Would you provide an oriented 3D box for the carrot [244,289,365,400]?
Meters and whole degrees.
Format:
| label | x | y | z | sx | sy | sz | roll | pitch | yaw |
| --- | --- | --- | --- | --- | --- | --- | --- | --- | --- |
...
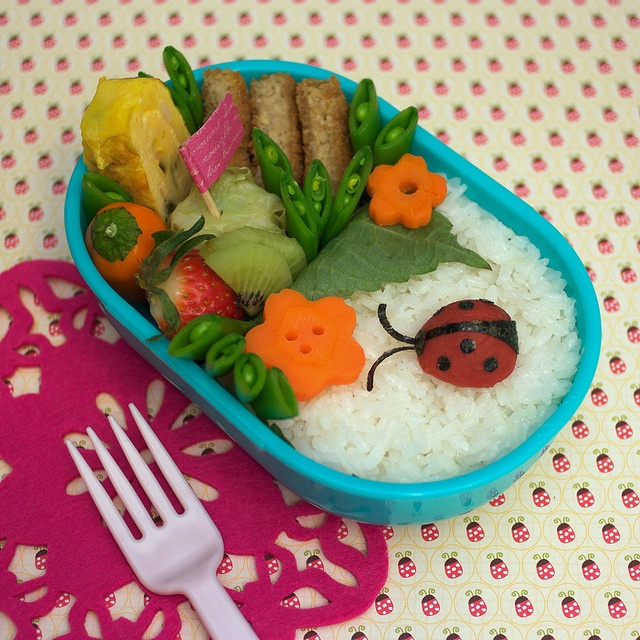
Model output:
| label | x | y | z | sx | sy | sz | roll | pitch | yaw |
| --- | --- | --- | --- | --- | --- | --- | --- | --- | --- |
| carrot | -0.016 | 0.036 | 1.184 | 0.201 | 0.045 | 0.149 | 2 | 70 | -9 |

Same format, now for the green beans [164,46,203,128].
| label | x | y | z | sx | sy | sz | roll | pitch | yaw |
| --- | --- | --- | --- | --- | --- | --- | --- | --- | --- |
| green beans | -0.227 | -0.390 | 1.370 | 0.043 | 0.095 | 0.106 | -17 | 77 | -7 |

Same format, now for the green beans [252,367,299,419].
| label | x | y | z | sx | sy | sz | roll | pitch | yaw |
| --- | --- | --- | --- | --- | --- | --- | --- | --- | --- |
| green beans | -0.063 | 0.099 | 1.124 | 0.070 | 0.046 | 0.092 | -7 | 35 | -10 |

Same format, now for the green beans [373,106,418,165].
| label | x | y | z | sx | sy | sz | roll | pitch | yaw |
| --- | --- | --- | --- | --- | --- | --- | --- | --- | --- |
| green beans | 0.120 | -0.294 | 1.318 | 0.093 | 0.083 | 0.101 | -7 | 39 | -7 |

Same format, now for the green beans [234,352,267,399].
| label | x | y | z | sx | sy | sz | roll | pitch | yaw |
| --- | --- | --- | --- | --- | --- | --- | --- | --- | --- |
| green beans | -0.136 | 0.049 | 1.137 | 0.040 | 0.026 | 0.079 | 32 | 39 | 4 |

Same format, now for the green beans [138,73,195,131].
| label | x | y | z | sx | sy | sz | roll | pitch | yaw |
| --- | --- | --- | --- | --- | --- | --- | --- | --- | --- |
| green beans | -0.230 | -0.373 | 1.382 | 0.055 | 0.170 | 0.038 | -23 | 66 | -7 |

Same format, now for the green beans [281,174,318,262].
| label | x | y | z | sx | sy | sz | roll | pitch | yaw |
| --- | --- | --- | --- | --- | --- | --- | --- | --- | --- |
| green beans | -0.013 | -0.158 | 1.269 | 0.047 | 0.048 | 0.120 | -19 | 108 | 3 |

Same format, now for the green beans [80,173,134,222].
| label | x | y | z | sx | sy | sz | roll | pitch | yaw |
| --- | --- | --- | --- | --- | --- | --- | --- | --- | --- |
| green beans | -0.335 | -0.206 | 1.307 | 0.091 | 0.069 | 0.061 | -8 | 45 | -3 |

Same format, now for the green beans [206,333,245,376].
| label | x | y | z | sx | sy | sz | roll | pitch | yaw |
| --- | --- | --- | --- | --- | --- | --- | --- | --- | --- |
| green beans | -0.132 | 0.046 | 1.139 | 0.043 | 0.024 | 0.068 | 19 | 54 | 5 |

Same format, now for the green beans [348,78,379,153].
| label | x | y | z | sx | sy | sz | roll | pitch | yaw |
| --- | --- | --- | --- | --- | --- | --- | --- | --- | --- |
| green beans | 0.073 | -0.323 | 1.339 | 0.056 | 0.083 | 0.125 | 9 | 75 | -1 |

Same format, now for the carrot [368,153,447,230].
| label | x | y | z | sx | sy | sz | roll | pitch | yaw |
| --- | --- | --- | --- | --- | --- | --- | --- | --- | --- |
| carrot | 0.142 | -0.200 | 1.343 | 0.109 | 0.106 | 0.145 | -26 | 42 | -31 |

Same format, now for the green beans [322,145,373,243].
| label | x | y | z | sx | sy | sz | roll | pitch | yaw |
| --- | --- | --- | --- | --- | --- | --- | --- | --- | --- |
| green beans | 0.045 | -0.203 | 1.299 | 0.046 | 0.070 | 0.180 | 28 | 105 | 3 |
